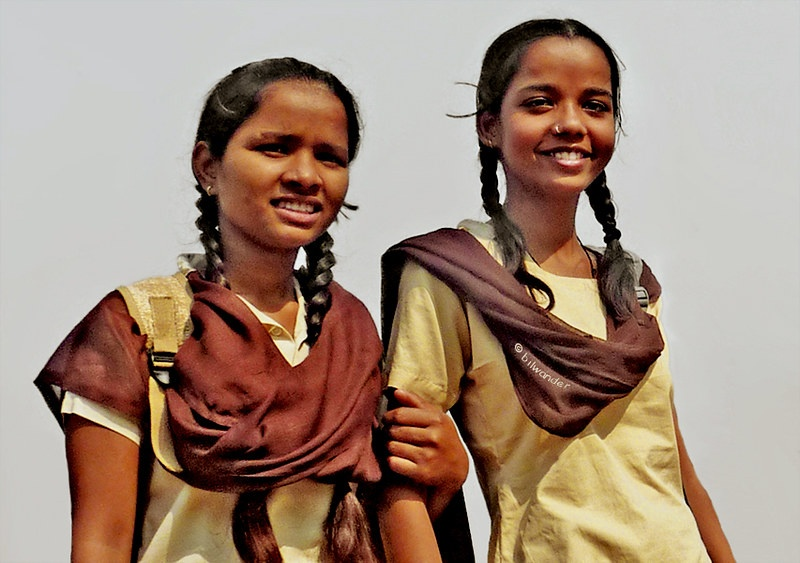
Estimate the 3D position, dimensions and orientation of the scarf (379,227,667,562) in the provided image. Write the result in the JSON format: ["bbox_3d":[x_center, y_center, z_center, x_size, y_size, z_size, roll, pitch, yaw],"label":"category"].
[{"bbox_3d":[0.446,0.478,7.995,1.144,1.010,0.620,5,-19,-32],"label":"scarf"}]

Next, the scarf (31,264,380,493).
[{"bbox_3d":[-0.593,0.374,8.020,1.395,0.928,0.745,5,-17,-32],"label":"scarf"}]

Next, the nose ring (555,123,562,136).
[{"bbox_3d":[0.604,-0.595,8.094,0.028,0.037,0.012,-3,-3,13],"label":"nose ring"}]
